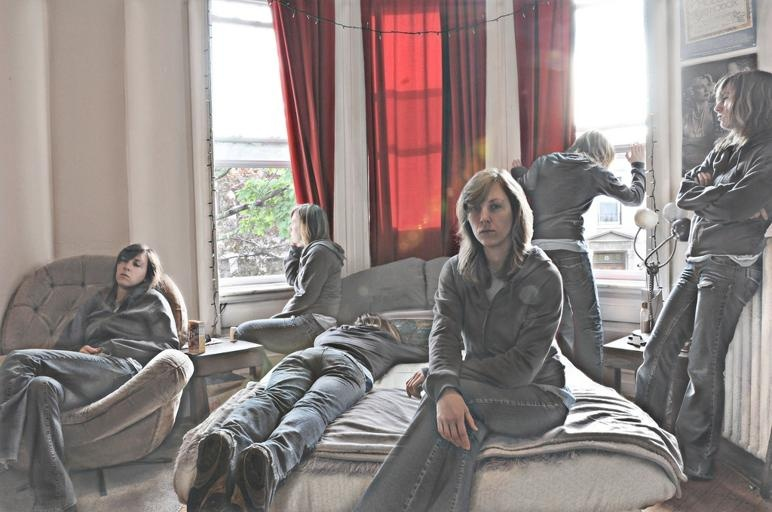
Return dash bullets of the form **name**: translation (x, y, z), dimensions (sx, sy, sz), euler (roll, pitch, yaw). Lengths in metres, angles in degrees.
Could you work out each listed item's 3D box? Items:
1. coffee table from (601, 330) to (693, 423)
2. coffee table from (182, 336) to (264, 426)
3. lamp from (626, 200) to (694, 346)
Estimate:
- **coffee table**: translation (1.751, 0.763, 4.040), dimensions (0.581, 0.748, 0.525), euler (7, -5, -36)
- **coffee table**: translation (-1.052, 0.807, 4.085), dimensions (0.501, 0.475, 0.485), euler (-2, 1, -42)
- **lamp**: translation (1.899, 0.124, 4.170), dimensions (0.505, 1.227, 0.469), euler (2, 32, 33)
